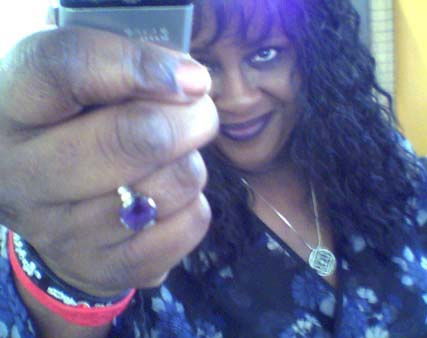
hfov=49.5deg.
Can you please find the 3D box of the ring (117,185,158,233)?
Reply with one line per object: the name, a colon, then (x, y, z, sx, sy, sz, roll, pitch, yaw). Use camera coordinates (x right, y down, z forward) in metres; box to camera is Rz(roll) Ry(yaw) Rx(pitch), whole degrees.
ring: (-0.147, 0.062, 0.860, 0.071, 0.111, 0.029, -27, 42, 6)
